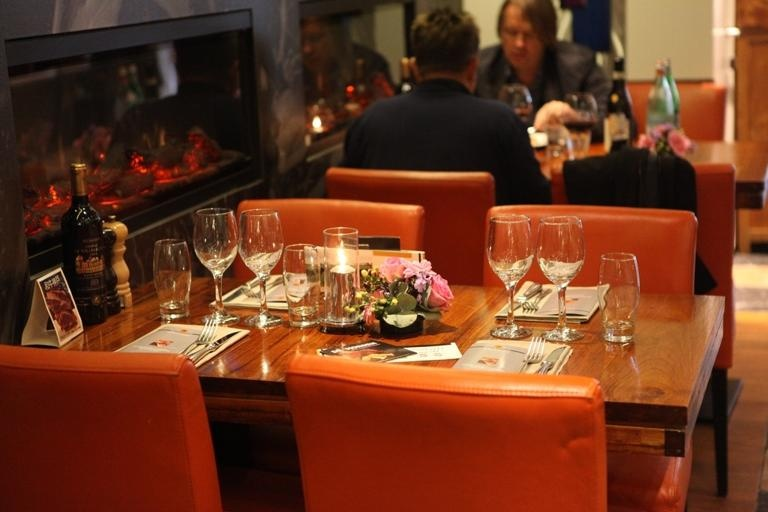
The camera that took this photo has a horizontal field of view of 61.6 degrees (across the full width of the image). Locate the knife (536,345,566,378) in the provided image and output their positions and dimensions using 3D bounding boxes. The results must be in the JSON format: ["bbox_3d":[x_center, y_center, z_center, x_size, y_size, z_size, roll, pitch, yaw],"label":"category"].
[{"bbox_3d":[0.385,0.238,1.473,0.031,0.019,0.218,6,18,21],"label":"knife"}]

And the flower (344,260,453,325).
[{"bbox_3d":[0.054,0.078,1.677,0.184,0.128,0.185,-4,13,-33],"label":"flower"}]

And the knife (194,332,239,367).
[{"bbox_3d":[-0.431,0.229,1.668,0.025,0.030,0.218,16,21,23],"label":"knife"}]

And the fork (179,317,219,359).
[{"bbox_3d":[-0.475,0.213,1.649,0.020,0.018,0.123,2,31,22],"label":"fork"}]

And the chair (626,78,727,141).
[{"bbox_3d":[1.623,-0.821,3.655,0.506,0.525,0.389,3,19,14],"label":"chair"}]

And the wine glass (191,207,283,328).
[{"bbox_3d":[-0.424,0.039,1.875,0.317,0.450,0.165,1,10,1],"label":"wine glass"}]

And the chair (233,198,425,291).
[{"bbox_3d":[-0.133,0.029,2.227,0.564,0.414,0.296,2,14,11],"label":"chair"}]

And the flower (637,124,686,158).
[{"bbox_3d":[1.117,-0.459,2.561,0.183,0.118,0.221,2,11,22],"label":"flower"}]
